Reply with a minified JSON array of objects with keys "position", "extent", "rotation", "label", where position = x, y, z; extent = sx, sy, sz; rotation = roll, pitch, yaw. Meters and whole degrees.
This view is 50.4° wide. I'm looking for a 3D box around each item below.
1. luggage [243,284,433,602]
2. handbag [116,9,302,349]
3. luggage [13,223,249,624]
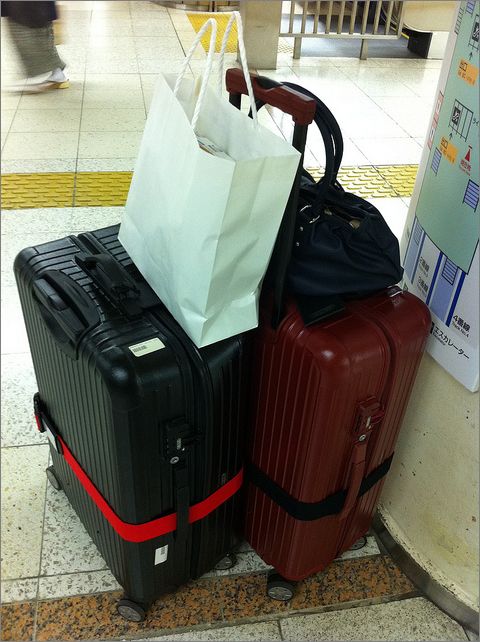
[{"position":[0.191,0.265,1.146],"extent":[0.330,0.610,0.321],"rotation":[-7,26,-27],"label":"luggage"},{"position":[-0.043,-0.212,0.837],"extent":[0.209,0.514,0.375],"rotation":[-16,37,-26],"label":"handbag"},{"position":[-0.200,0.232,1.003],"extent":[0.332,0.786,0.547],"rotation":[-20,50,-24],"label":"luggage"}]
